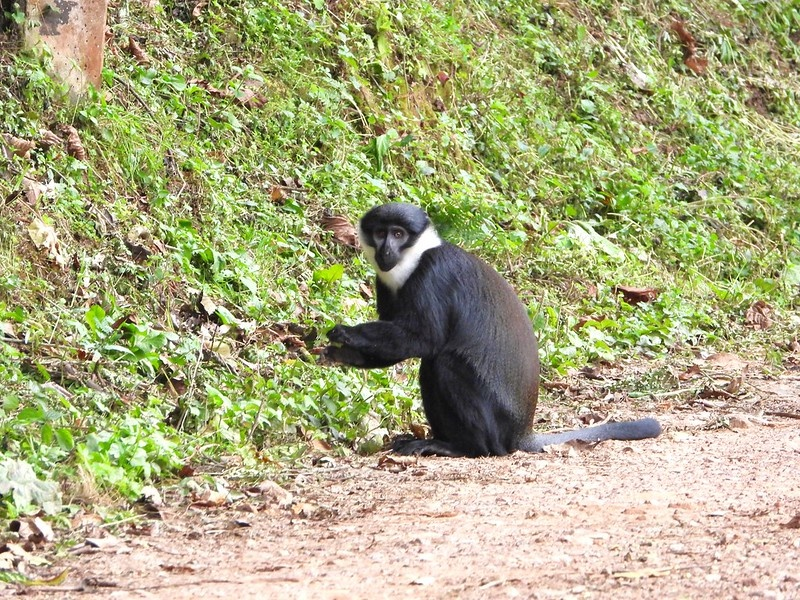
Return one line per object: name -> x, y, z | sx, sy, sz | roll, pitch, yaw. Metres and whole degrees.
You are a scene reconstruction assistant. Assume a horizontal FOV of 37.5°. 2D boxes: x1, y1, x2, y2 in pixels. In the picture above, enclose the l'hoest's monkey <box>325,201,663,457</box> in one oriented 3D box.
l'hoest's monkey -> 0.395, 0.179, 7.456 | 1.740, 1.534, 0.671 | -2, 11, -1
